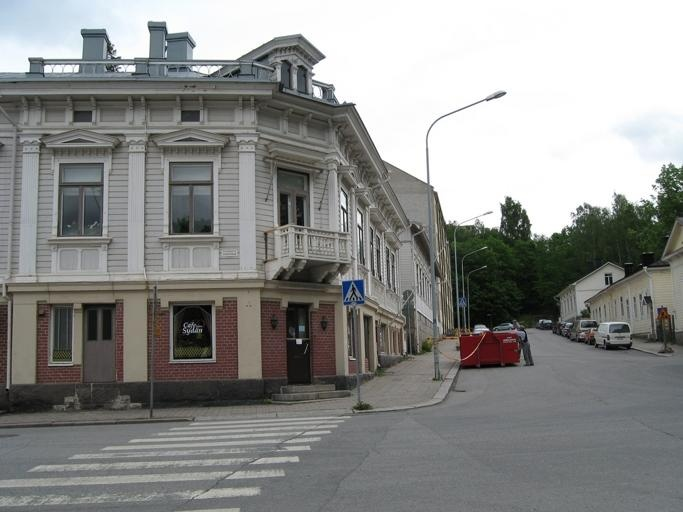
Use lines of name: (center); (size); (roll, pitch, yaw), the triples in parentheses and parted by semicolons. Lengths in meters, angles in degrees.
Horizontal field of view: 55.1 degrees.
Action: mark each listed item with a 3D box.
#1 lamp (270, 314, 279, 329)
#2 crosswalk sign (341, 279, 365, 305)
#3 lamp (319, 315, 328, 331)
lamp: (-2.267, 2.244, 22.222); (0.112, 0.518, 0.371); (-10, -11, 43)
crosswalk sign: (0.347, 1.116, 19.977); (0.831, 1.073, 0.107); (-2, 0, 7)
lamp: (-0.642, 2.437, 23.621); (0.372, 0.596, 0.436); (1, -6, -4)
